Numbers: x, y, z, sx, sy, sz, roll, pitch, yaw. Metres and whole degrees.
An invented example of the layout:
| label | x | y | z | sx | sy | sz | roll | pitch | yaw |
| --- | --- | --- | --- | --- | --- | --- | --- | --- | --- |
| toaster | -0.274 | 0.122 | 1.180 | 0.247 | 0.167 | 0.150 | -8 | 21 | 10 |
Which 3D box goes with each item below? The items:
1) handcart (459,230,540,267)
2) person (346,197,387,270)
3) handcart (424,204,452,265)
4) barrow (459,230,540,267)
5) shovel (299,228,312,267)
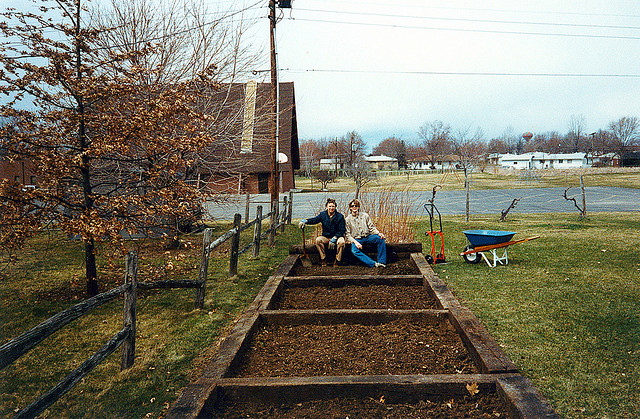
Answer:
| label | x | y | z | sx | sy | sz | roll | pitch | yaw |
| --- | --- | --- | --- | --- | --- | --- | --- | --- | --- |
| handcart | 3.626 | 0.833 | 11.647 | 1.054 | 0.769 | 1.434 | -4 | 4 | 6 |
| person | 0.964 | 0.537 | 11.653 | 0.856 | 1.437 | 1.141 | -13 | 14 | -23 |
| handcart | 2.600 | 0.584 | 11.851 | 0.525 | 1.344 | 0.434 | -5 | 4 | -38 |
| barrow | 3.743 | 0.803 | 11.408 | 0.820 | 0.745 | 1.658 | -1 | 2 | -43 |
| shovel | -0.328 | 1.006 | 11.894 | 0.270 | 0.523 | 0.365 | -4 | 4 | 6 |
